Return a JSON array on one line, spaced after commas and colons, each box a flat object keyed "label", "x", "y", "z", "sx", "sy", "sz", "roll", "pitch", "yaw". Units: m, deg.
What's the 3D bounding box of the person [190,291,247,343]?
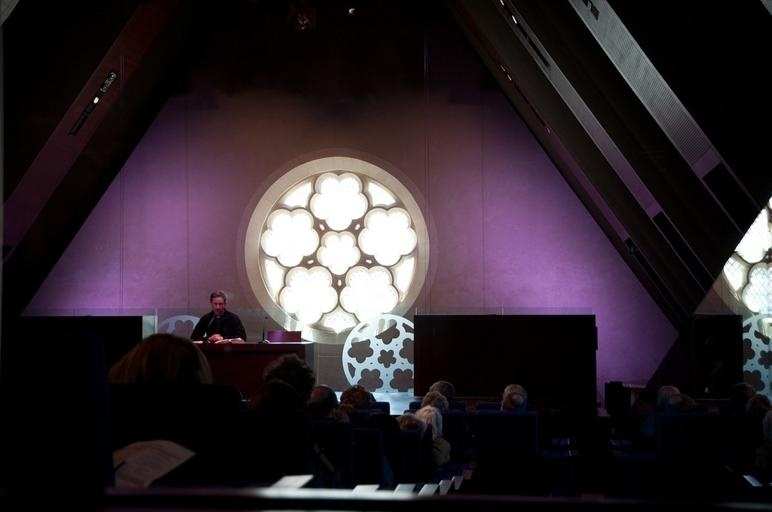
[{"label": "person", "x": -2.055, "y": 0.880, "z": 9.496, "sx": 0.646, "sy": 0.902, "sz": 0.474, "roll": 0, "pitch": -3, "yaw": -8}]

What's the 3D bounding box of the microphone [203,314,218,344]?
[{"label": "microphone", "x": -2.003, "y": 0.845, "z": 9.069, "sx": 0.078, "sy": 0.321, "sz": 0.206, "roll": 14, "pitch": -13, "yaw": -42}]
